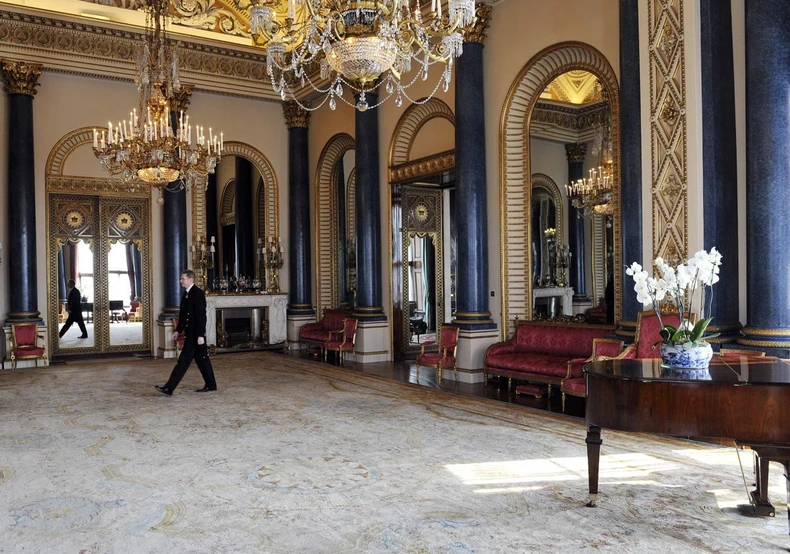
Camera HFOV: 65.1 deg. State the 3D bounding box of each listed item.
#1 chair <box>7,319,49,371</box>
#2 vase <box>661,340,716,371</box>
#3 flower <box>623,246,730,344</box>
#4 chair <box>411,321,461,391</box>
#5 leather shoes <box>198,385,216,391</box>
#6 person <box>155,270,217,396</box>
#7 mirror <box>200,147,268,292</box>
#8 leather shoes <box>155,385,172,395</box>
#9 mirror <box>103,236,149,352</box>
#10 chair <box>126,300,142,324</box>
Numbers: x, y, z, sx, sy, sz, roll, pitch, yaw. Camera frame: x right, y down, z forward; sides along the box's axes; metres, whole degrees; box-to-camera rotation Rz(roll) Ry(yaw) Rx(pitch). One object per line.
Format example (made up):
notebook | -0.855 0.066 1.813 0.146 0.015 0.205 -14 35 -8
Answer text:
chair | -7.252 1.285 12.288 0.908 1.337 0.760 0 -1 -30
vase | 2.528 0.687 5.391 0.290 0.173 0.275 -6 -7 38
flower | 3.119 0.177 6.767 0.882 0.988 0.937 -8 -17 31
chair | 0.689 1.295 10.963 0.825 1.336 0.851 1 0 -40
leather shoes | -2.966 1.770 9.854 0.301 0.142 0.108 3 -4 -2
person | -3.342 0.841 10.037 0.794 1.977 1.455 -2 5 -20
mirror | -4.170 -1.524 16.259 0.221 5.088 3.316 -4 6 -37
leather shoes | -3.578 1.730 9.619 0.241 0.170 0.405 -3 5 -21
mirror | -6.022 0.369 13.860 0.757 2.327 0.201 -3 6 -28
chair | -5.858 0.778 13.948 0.363 0.618 0.406 -2 -5 29
